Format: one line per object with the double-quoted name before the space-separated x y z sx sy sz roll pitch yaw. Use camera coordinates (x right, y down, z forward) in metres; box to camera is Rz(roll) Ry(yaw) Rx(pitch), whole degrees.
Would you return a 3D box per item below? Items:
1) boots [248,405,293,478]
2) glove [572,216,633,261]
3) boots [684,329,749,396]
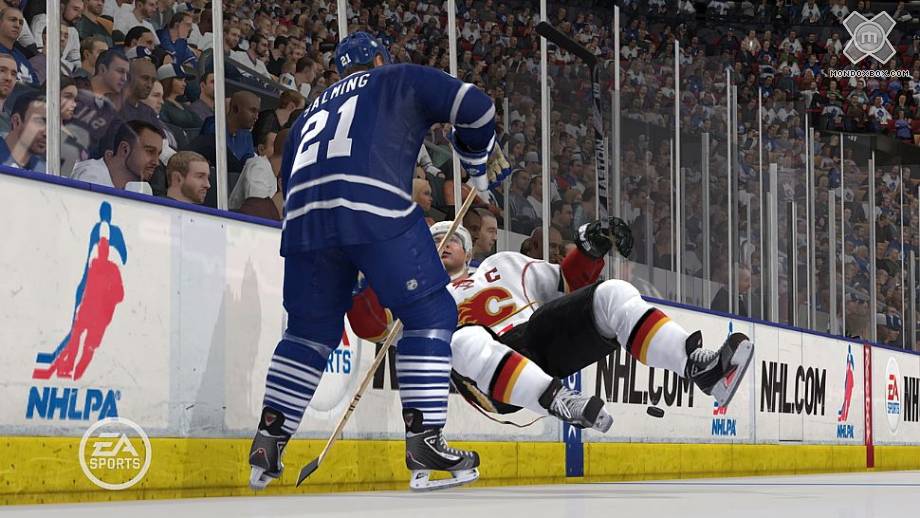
"boots" -1.561 1.457 13.743 0.256 0.617 0.250 2 0 4
"glove" 1.223 -0.179 14.529 0.468 0.362 0.318 2 -5 4
"boots" 2.097 0.866 13.765 0.534 0.551 0.216 2 -5 7
